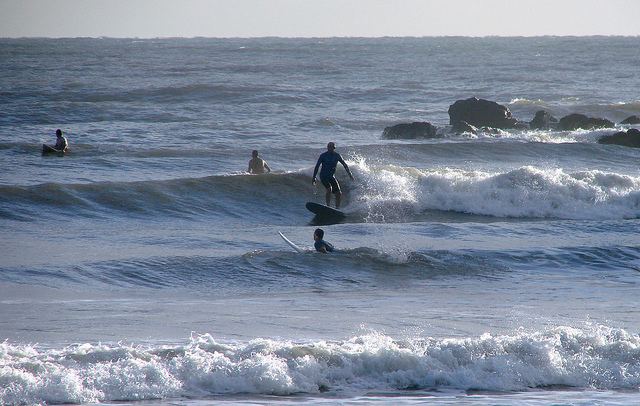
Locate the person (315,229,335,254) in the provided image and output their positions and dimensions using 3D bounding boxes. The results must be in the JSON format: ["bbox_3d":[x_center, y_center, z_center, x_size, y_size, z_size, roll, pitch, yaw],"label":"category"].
[{"bbox_3d":[0.158,1.771,57.066,0.829,1.138,0.433,-1,-10,-5],"label":"person"}]

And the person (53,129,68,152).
[{"bbox_3d":[-14.017,-3.417,67.814,0.669,1.327,1.277,0,-9,-12],"label":"person"}]

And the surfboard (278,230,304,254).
[{"bbox_3d":[-1.373,1.799,57.588,0.173,1.619,0.468,-48,-22,-30],"label":"surfboard"}]

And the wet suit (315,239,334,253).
[{"bbox_3d":[0.158,1.969,57.072,0.852,0.621,0.395,-1,-9,-1],"label":"wet suit"}]

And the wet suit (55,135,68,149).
[{"bbox_3d":[-13.999,-3.260,67.778,0.495,0.734,0.483,0,-9,-11],"label":"wet suit"}]
